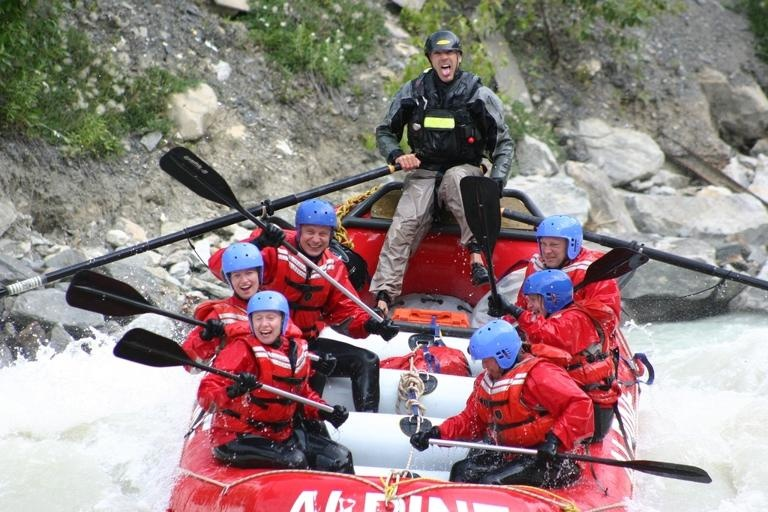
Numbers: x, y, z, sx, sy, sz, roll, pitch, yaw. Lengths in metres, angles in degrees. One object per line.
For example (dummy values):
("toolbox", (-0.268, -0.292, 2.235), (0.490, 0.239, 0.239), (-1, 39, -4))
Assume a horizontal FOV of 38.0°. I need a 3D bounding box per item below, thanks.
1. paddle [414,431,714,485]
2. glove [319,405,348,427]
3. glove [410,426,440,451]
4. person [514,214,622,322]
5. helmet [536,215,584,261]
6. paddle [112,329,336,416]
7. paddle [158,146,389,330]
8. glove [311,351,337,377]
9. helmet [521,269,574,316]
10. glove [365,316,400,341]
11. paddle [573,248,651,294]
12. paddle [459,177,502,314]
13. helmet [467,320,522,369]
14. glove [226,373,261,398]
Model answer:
("paddle", (1.643, 1.978, 10.879), (3.485, 0.186, 0.367), (6, -4, 4))
("glove", (-0.477, 1.553, 10.895), (0.289, 0.173, 0.133), (20, 15, 3))
("glove", (0.397, 1.739, 10.793), (0.277, 0.113, 0.169), (-34, 54, -18))
("person", (1.893, 0.189, 11.598), (0.739, 1.200, 1.194), (-3, 10, -40))
("helmet", (1.737, -0.201, 11.455), (0.477, 0.451, 0.362), (2, -1, -40))
("paddle", (-1.544, 1.171, 11.160), (2.147, 0.379, 0.092), (19, 67, 3))
("paddle", (-1.374, -0.155, 12.731), (3.775, 0.514, 0.157), (33, 72, 4))
("glove", (-0.613, 1.105, 11.461), (0.249, 0.232, 0.191), (8, 5, 1))
("helmet", (1.639, 0.335, 11.208), (0.477, 0.400, 0.350), (4, 1, 6))
("glove", (-0.019, 0.752, 11.534), (0.300, 0.131, 0.193), (25, 23, -13))
("paddle", (2.248, 0.102, 11.076), (0.833, 0.258, 0.119), (-28, 17, 37))
("paddle", (1.117, -0.060, 11.885), (0.439, 1.763, 0.156), (9, 43, 31))
("helmet", (1.079, 0.865, 10.736), (0.507, 0.409, 0.369), (-22, 16, 0))
("glove", (-1.351, 1.219, 10.560), (0.328, 0.246, 0.146), (-21, 47, -6))
